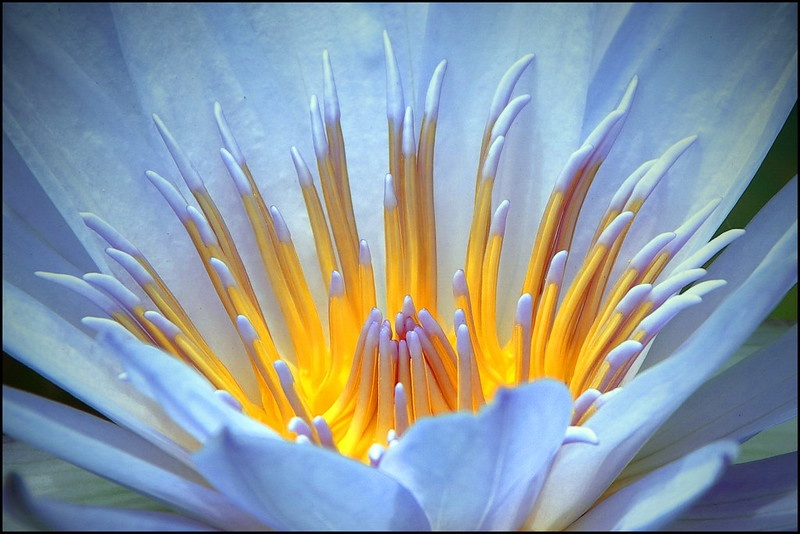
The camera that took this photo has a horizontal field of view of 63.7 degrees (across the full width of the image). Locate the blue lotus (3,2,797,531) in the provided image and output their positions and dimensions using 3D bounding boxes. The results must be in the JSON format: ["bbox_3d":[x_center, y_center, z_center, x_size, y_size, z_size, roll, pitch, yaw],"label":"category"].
[{"bbox_3d":[0.000,-0.045,0.961,0.945,0.381,0.868,-9,49,-1],"label":"blue lotus"}]
